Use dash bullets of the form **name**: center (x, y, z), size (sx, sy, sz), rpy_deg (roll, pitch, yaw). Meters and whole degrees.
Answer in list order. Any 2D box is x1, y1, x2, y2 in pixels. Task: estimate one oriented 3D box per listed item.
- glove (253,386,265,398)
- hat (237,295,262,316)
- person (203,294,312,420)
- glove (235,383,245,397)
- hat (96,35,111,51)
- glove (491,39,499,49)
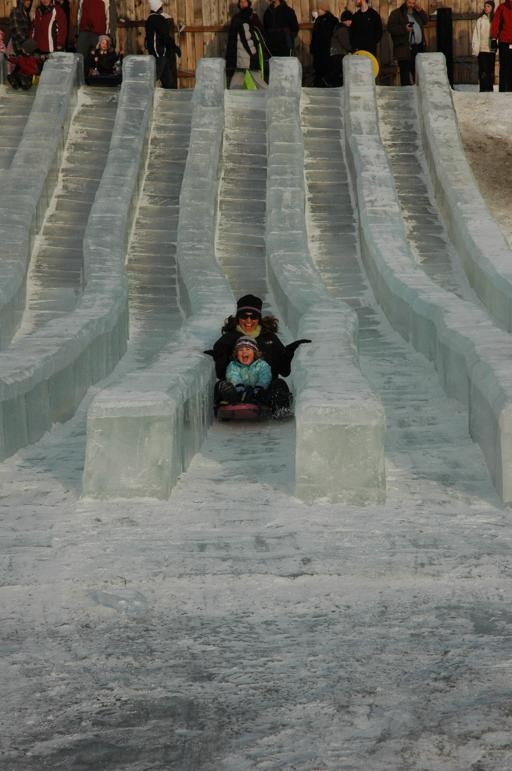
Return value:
- **glove**: center (0.015, 0.042, 5.382), size (0.052, 0.055, 0.066), rpy_deg (-1, 6, 5)
- **hat**: center (-0.043, -0.519, 5.935), size (0.120, 0.111, 0.173), rpy_deg (1, -9, -1)
- **person**: center (-0.011, -0.120, 5.686), size (0.759, 0.759, 0.670), rpy_deg (2, -19, -6)
- **glove**: center (-0.090, 0.031, 5.367), size (0.046, 0.062, 0.067), rpy_deg (-1, 7, 3)
- **hat**: center (-2.087, -4.625, 12.531), size (0.185, 0.237, 0.191), rpy_deg (-2, 9, -9)
- **glove**: center (3.262, -4.651, 12.581), size (0.089, 0.141, 0.088), rpy_deg (10, 53, 12)
